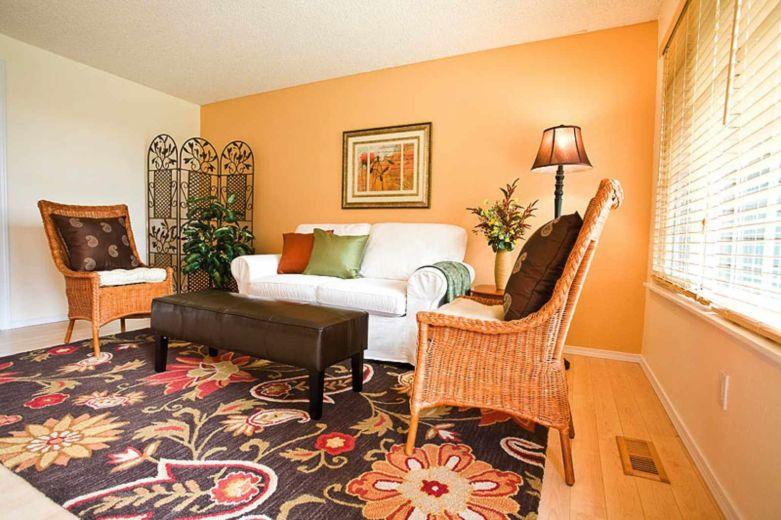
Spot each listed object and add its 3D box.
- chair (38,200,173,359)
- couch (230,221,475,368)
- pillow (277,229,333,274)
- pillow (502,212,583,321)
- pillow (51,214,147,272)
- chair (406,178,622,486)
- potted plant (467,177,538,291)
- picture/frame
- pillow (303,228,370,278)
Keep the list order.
[{"bbox_3d":[-2.623,0.118,4.594,1.067,1.171,0.896,7,9,20],"label":"chair"},{"bbox_3d":[-0.409,0.217,4.843,2.403,1.053,1.113,4,10,27],"label":"couch"},{"bbox_3d":[-0.897,-0.067,5.130,0.539,0.448,0.165,2,-10,27],"label":"pillow"},{"bbox_3d":[0.997,0.042,3.332,0.415,0.666,0.763,4,13,15],"label":"pillow"},{"bbox_3d":[-2.757,-0.185,4.642,0.397,0.575,0.720,15,15,24],"label":"pillow"},{"bbox_3d":[0.640,0.441,3.401,1.418,1.578,1.104,4,-3,-1],"label":"chair"},{"bbox_3d":[0.967,-0.197,4.265,0.545,0.869,0.429,3,5,34],"label":"potted plant"},{"bbox_3d":[-0.012,-0.997,5.222,1.115,0.816,0.049,2,4,24],"label":"picture/frame"},{"bbox_3d":[-0.528,-0.059,4.885,0.608,0.394,0.307,11,28,31],"label":"pillow"}]
